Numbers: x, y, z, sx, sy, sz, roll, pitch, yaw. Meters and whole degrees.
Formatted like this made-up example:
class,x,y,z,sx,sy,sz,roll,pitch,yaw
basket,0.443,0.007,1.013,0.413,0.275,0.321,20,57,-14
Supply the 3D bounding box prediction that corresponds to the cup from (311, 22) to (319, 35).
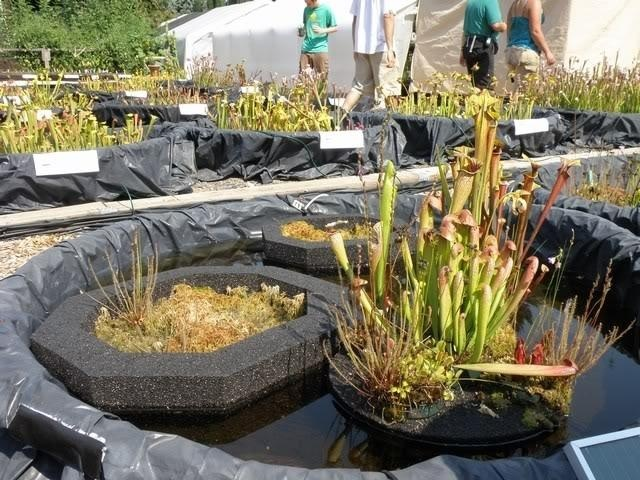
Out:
class,x,y,z,sx,sy,sz,roll,pitch,yaw
cup,-0.059,-2.880,7.018,0.095,0.135,0.233,-2,23,0
